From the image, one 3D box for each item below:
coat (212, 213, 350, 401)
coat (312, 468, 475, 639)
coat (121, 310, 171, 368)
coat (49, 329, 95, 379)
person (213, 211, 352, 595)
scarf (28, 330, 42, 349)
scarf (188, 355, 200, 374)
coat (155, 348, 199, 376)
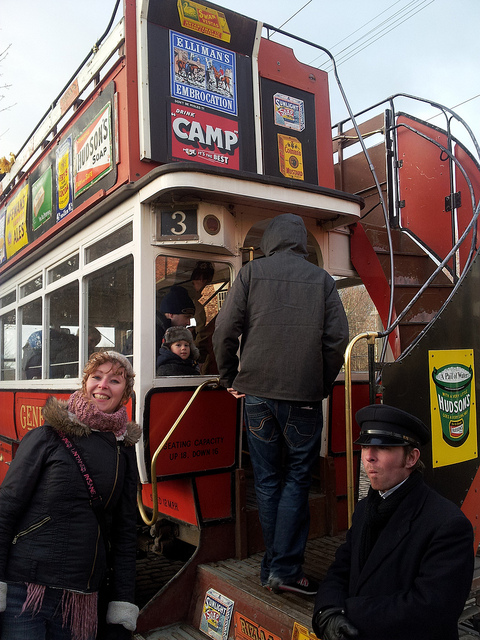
[{"bbox_3d":[0.219,-0.078,3.043,0.611,1.019,0.390,4,-17,1],"label":"coat"},{"bbox_3d":[0.500,0.714,1.869,0.437,0.468,0.353,-8,-12,35],"label":"coat"},{"bbox_3d":[-0.579,0.110,3.581,0.308,0.321,0.208,-1,-10,1],"label":"coat"},{"bbox_3d":[-1.472,0.256,4.948,0.041,0.499,1.004,5,-12,-29],"label":"coat"},{"bbox_3d":[0.193,0.358,2.918,0.652,1.836,0.315,0,-10,-2],"label":"person"},{"bbox_3d":[-2.031,0.199,5.906,0.041,0.214,0.204,3,-20,-35],"label":"scarf"},{"bbox_3d":[-0.278,0.264,3.625,0.065,0.087,0.089,0,-4,5],"label":"scarf"},{"bbox_3d":[-0.381,0.249,3.522,0.279,0.161,0.041,8,-13,-40],"label":"coat"}]
